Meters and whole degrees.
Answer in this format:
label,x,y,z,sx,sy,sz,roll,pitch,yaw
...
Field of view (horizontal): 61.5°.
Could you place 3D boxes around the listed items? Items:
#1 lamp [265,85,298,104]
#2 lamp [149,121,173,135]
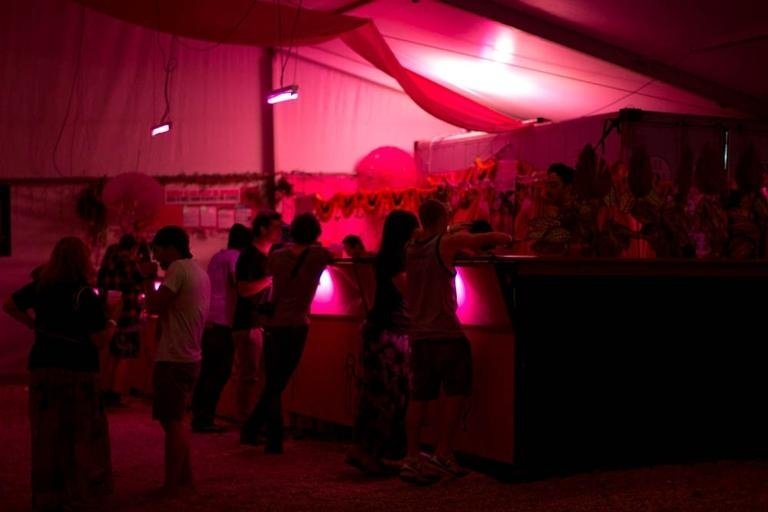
label,x,y,z,sx,sy,sz,roll,pitch,yaw
lamp,-1.208,-2.005,7.830,0.247,0.195,0.665,-2,7,-20
lamp,-3.228,-1.912,9.488,0.224,0.167,0.686,-3,8,-21
